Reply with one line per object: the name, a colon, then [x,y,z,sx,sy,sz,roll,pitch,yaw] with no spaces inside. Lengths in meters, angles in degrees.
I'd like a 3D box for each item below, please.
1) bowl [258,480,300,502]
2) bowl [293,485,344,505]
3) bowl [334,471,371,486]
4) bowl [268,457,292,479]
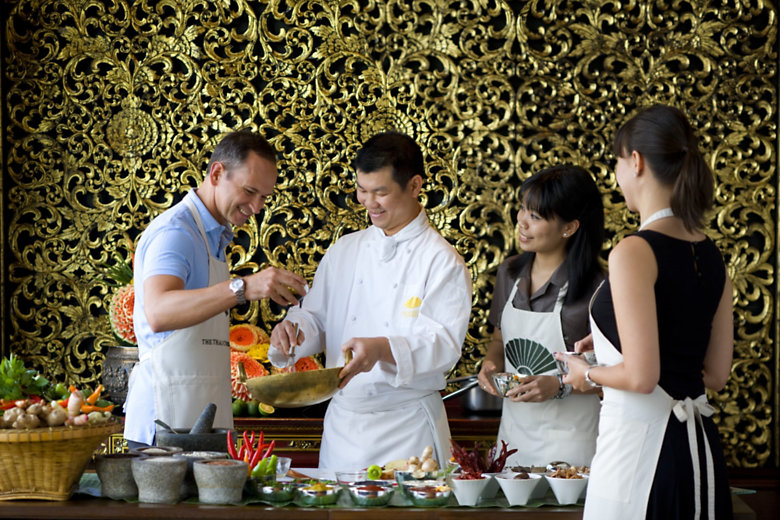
bowl: [-0.485,0.991,4.227,0.170,0.088,0.047,2,-10,-8]
bowl: [-0.309,1.009,4.228,0.193,0.080,0.065,2,-10,-6]
bowl: [-0.171,0.957,4.340,0.139,0.061,0.155,1,-10,-3]
bowl: [-0.482,0.927,4.426,0.076,0.062,0.075,0,-7,0]
